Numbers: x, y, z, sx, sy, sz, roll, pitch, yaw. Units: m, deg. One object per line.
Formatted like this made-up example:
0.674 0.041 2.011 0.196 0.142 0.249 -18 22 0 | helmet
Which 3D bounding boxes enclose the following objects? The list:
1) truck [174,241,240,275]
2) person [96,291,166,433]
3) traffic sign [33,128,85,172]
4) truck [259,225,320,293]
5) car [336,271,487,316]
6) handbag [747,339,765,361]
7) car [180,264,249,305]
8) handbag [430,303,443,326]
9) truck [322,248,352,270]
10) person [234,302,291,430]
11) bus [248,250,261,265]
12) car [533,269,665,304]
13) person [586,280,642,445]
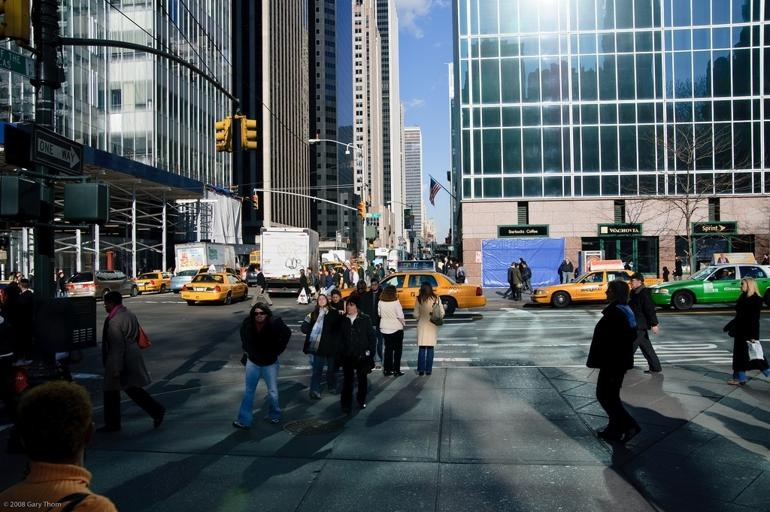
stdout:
-12.246 -0.006 48.935 2.514 2.393 4.621 0 2 15 | truck
-4.779 1.883 13.290 1.109 2.501 0.994 0 0 21 | person
-5.997 -1.906 12.975 0.307 0.827 1.174 1 5 14 | traffic sign
-5.429 0.110 39.505 2.284 2.953 6.438 0 1 -1 | truck
0.991 1.252 26.966 5.658 1.533 2.007 1 -2 6 | car
7.798 1.958 14.837 0.354 0.445 0.159 0 4 -2 | handbag
-8.067 1.541 33.559 1.634 1.520 3.426 1 5 12 | car
1.149 1.328 16.330 0.262 0.496 0.534 -1 -1 13 | handbag
-4.110 0.187 60.938 2.848 1.451 2.746 3 -1 19 | truck
-2.348 1.990 13.307 1.045 2.260 0.615 -1 4 -16 | person
-11.220 0.111 60.276 1.387 1.361 4.600 -1 -1 -12 | bus
9.287 1.405 29.794 6.725 1.950 2.383 0 -2 5 | car
4.061 1.893 12.757 1.038 2.822 1.226 3 -2 19 | person
